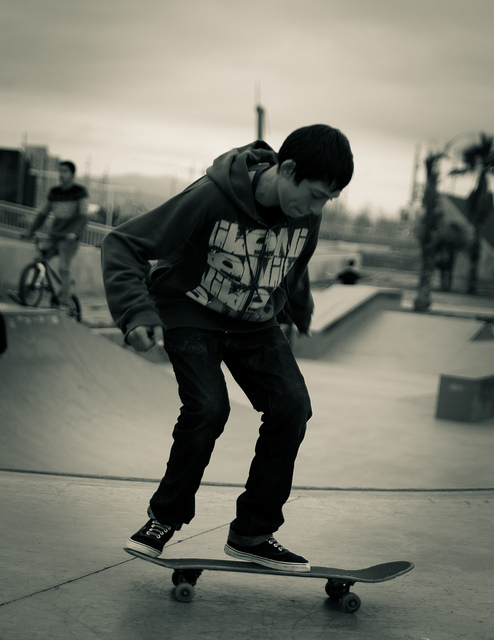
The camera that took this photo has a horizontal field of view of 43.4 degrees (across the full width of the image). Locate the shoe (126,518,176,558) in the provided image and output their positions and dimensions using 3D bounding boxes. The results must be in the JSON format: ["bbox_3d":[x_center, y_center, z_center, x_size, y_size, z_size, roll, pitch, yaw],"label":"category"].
[{"bbox_3d":[-0.273,0.622,1.777,0.070,0.058,0.166,-21,-11,8],"label":"shoe"}]

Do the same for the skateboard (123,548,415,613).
[{"bbox_3d":[0.042,0.795,1.879,0.706,0.103,0.164,6,-3,0],"label":"skateboard"}]

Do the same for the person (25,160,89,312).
[{"bbox_3d":[-1.954,-0.864,6.369,0.596,1.519,0.225,6,3,-16],"label":"person"}]

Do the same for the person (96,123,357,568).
[{"bbox_3d":[-0.099,0.106,1.893,0.738,1.026,0.516,5,3,-19],"label":"person"}]

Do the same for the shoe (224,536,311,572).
[{"bbox_3d":[0.076,0.711,1.913,0.271,0.081,0.084,7,-9,14],"label":"shoe"}]
